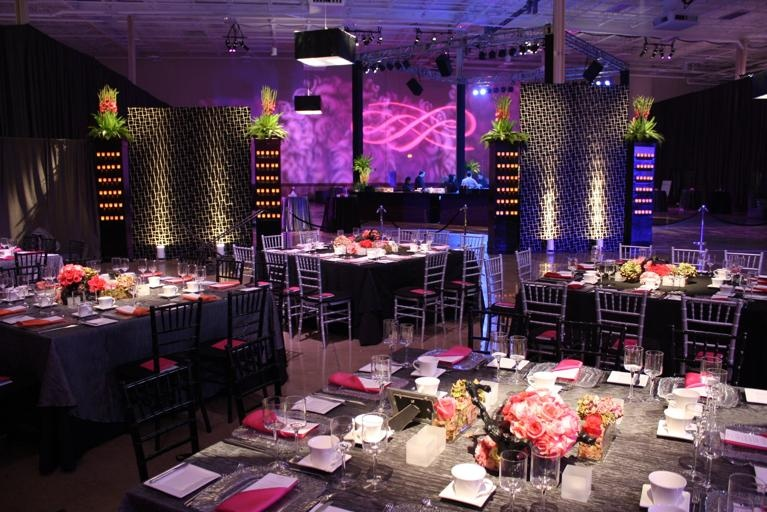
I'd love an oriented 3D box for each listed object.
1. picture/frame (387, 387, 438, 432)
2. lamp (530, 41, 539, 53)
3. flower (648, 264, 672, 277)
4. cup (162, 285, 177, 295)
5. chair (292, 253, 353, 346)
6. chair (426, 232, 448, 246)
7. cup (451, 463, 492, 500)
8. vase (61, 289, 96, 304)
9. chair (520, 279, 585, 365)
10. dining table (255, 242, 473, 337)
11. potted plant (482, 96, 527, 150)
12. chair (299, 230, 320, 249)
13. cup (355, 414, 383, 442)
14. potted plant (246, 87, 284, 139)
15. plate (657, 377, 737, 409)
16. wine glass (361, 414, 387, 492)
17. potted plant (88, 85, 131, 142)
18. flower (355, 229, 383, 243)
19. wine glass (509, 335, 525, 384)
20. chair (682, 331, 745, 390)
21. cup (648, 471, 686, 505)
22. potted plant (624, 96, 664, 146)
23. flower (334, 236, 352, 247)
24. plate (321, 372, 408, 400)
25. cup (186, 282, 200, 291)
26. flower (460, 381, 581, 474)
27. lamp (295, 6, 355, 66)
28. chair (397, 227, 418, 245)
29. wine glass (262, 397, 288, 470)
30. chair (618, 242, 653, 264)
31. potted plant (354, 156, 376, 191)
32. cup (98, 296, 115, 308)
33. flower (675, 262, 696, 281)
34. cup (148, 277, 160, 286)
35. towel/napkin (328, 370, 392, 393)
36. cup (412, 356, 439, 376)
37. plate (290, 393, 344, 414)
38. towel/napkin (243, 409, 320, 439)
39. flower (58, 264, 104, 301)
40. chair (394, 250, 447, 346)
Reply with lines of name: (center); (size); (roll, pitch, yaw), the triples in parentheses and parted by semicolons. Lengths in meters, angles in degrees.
picture/frame: (0.188, 0.878, 3.229); (0.301, 0.207, 0.099); (3, 6, 27)
lamp: (3.701, -5.121, 13.647); (0.220, 0.254, 0.555); (1, 5, 13)
flower: (2.959, 0.131, 5.946); (0.185, 0.092, 0.180); (1, 1, -36)
cup: (-2.104, 0.335, 5.432); (0.123, 0.077, 0.108); (3, 3, -7)
chair: (-0.777, 0.488, 7.059); (0.730, 1.000, 0.652); (1, 0, -30)
chair: (0.841, -0.281, 8.614); (0.246, 0.146, 0.383); (0, -1, 15)
cup: (0.414, 1.102, 2.738); (0.120, 0.092, 0.146); (0, -2, 28)
vase: (-2.887, 0.384, 5.221); (0.212, 0.129, 0.212); (2, 3, 15)
chair: (1.727, 0.778, 5.609); (0.594, 0.955, 0.663); (5, -4, 35)
dining table: (-0.090, 0.408, 7.253); (1.536, 0.581, 1.566); (4, 6, 41)
potted plant: (2.560, -2.885, 11.741); (0.870, 1.079, 0.754); (2, 6, 22)
chair: (-1.092, -0.242, 7.889); (0.265, 0.270, 0.264); (3, 3, 22)
cup: (-0.071, 0.891, 2.947); (0.126, 0.114, 0.163); (0, 3, -3)
potted plant: (-2.454, -2.947, 11.421); (0.715, 1.158, 0.916); (-2, 6, -14)
plate: (1.911, 0.808, 3.344); (0.284, 0.065, 0.277); (-1, 2, -23)
wine glass: (-0.054, 0.997, 2.885); (0.135, 0.306, 0.238); (-1, 6, -3)
potted plant: (-5.344, -2.765, 10.812); (0.730, 1.082, 0.580); (-3, 6, -21)
flower: (-0.202, -0.277, 7.731); (0.387, 0.199, 0.384); (0, -2, -2)
wine glass: (0.882, 0.688, 3.666); (0.104, 0.289, 0.101); (-3, -9, 21)
chair: (2.705, 0.829, 4.630); (0.388, 0.659, 0.418); (3, 24, 23)
cup: (1.361, 1.092, 2.674); (0.146, 0.104, 0.148); (-1, 5, 0)
potted plant: (5.659, -2.942, 11.964); (0.668, 1.012, 0.861); (5, 8, 44)
flower: (-0.564, -0.200, 7.632); (0.166, 0.080, 0.178); (1, 5, 5)
plate: (-0.172, 0.824, 3.573); (0.250, 0.051, 0.258); (4, 6, 42)
cup: (-1.917, 0.301, 5.532); (0.096, 0.065, 0.097); (-1, -2, 0)
flower: (0.744, 0.905, 2.979); (0.566, 0.383, 0.463); (8, 7, 24)
lamp: (-0.653, -2.525, 6.561); (0.581, 0.477, 0.554); (2, 5, 22)
chair: (0.397, -0.325, 9.301); (0.318, 0.241, 0.321); (0, -1, 28)
wine glass: (-0.608, 0.981, 3.074); (0.165, 0.419, 0.152); (-1, -1, -6)
chair: (3.912, -0.051, 8.619); (0.455, 0.281, 0.471); (4, 8, 41)
potted plant: (-0.646, -2.475, 16.311); (0.484, 0.994, 0.644); (-1, 6, -6)
cup: (-2.546, 0.417, 5.080); (0.096, 0.070, 0.116); (-3, -11, 22)
flower: (3.297, 0.155, 6.078); (0.225, 0.122, 0.221); (-1, 2, -2)
cup: (-2.416, 0.264, 5.818); (0.104, 0.078, 0.110); (0, -3, 0)
towel/napkin: (-0.168, 0.810, 3.572); (0.258, 0.043, 0.167); (4, 6, 27)
cup: (0.279, 0.712, 3.651); (0.117, 0.092, 0.139); (-1, -1, -9)
plate: (-0.392, 0.891, 3.368); (0.141, 0.016, 0.148); (-7, 15, -39)
towel/napkin: (-0.621, 0.915, 3.132); (0.298, 0.043, 0.203); (8, 9, 26)
flower: (-2.852, 0.242, 5.215); (0.366, 0.351, 0.374); (10, 7, 38)
chair: (0.458, 0.458, 7.212); (0.664, 1.036, 0.725); (-5, 5, -33)
